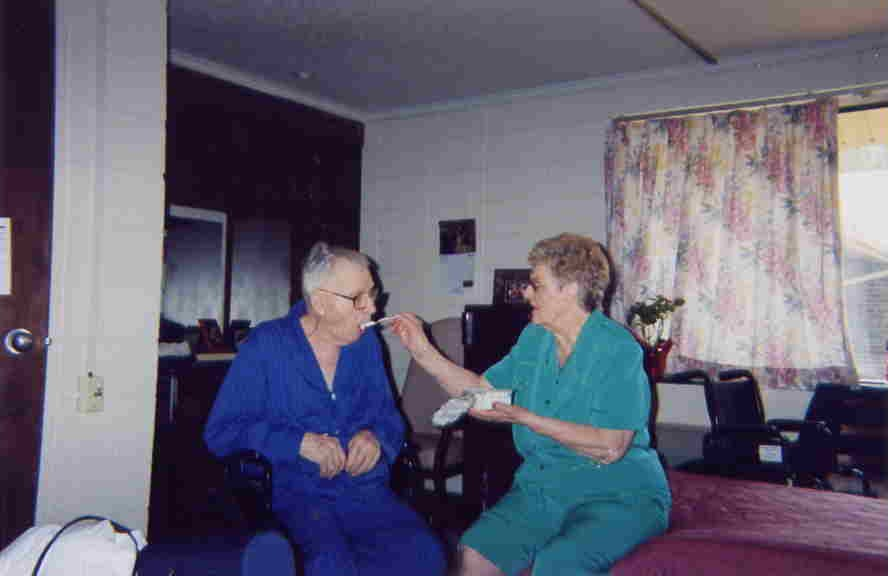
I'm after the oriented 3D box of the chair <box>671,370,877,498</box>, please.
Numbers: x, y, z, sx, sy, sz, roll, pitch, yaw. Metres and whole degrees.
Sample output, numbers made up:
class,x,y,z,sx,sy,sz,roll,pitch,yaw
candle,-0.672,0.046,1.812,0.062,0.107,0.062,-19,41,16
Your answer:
class,x,y,z,sx,sy,sz,roll,pitch,yaw
chair,2.061,0.919,4.785,1.160,0.783,0.706,-7,-9,35

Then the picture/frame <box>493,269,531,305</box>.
class,x,y,z,sx,sy,sz,roll,pitch,yaw
picture/frame,0.458,0.005,5.082,0.256,0.249,0.028,-3,-36,-1

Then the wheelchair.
class,x,y,z,sx,sy,sz,roll,pitch,yaw
wheelchair,2.004,0.875,4.796,1.129,0.714,0.721,-6,-7,34

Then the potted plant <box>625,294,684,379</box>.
class,x,y,z,sx,sy,sz,roll,pitch,yaw
potted plant,1.475,0.344,5.252,0.347,0.645,0.393,6,-20,12
